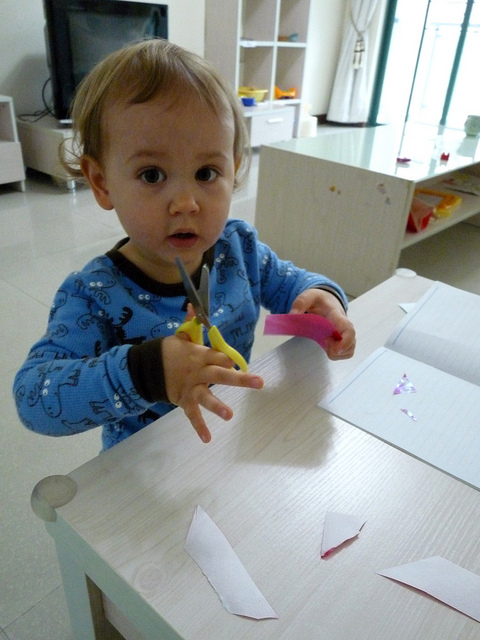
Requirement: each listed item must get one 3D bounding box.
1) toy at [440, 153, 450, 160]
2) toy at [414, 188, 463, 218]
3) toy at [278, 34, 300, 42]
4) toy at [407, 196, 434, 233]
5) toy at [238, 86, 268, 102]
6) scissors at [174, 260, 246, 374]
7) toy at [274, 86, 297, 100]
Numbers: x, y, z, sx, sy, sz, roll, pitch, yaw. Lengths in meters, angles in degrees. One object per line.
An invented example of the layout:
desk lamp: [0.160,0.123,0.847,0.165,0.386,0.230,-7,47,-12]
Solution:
toy: [0.887,-0.707,2.220,0.026,0.030,0.041,7,7,43]
toy: [0.869,-0.540,2.286,0.200,0.059,0.196,-21,39,-27]
toy: [0.448,-2.618,4.749,0.198,0.069,0.315,5,27,3]
toy: [0.723,-0.418,2.055,0.083,0.095,0.164,13,29,18]
toy: [0.096,-1.936,4.396,0.187,0.074,0.185,-5,40,-5]
scissors: [-0.033,0.000,0.459,0.058,0.124,0.015,7,40,12]
toy: [0.428,-2.110,4.841,0.212,0.106,0.138,-20,49,-20]
